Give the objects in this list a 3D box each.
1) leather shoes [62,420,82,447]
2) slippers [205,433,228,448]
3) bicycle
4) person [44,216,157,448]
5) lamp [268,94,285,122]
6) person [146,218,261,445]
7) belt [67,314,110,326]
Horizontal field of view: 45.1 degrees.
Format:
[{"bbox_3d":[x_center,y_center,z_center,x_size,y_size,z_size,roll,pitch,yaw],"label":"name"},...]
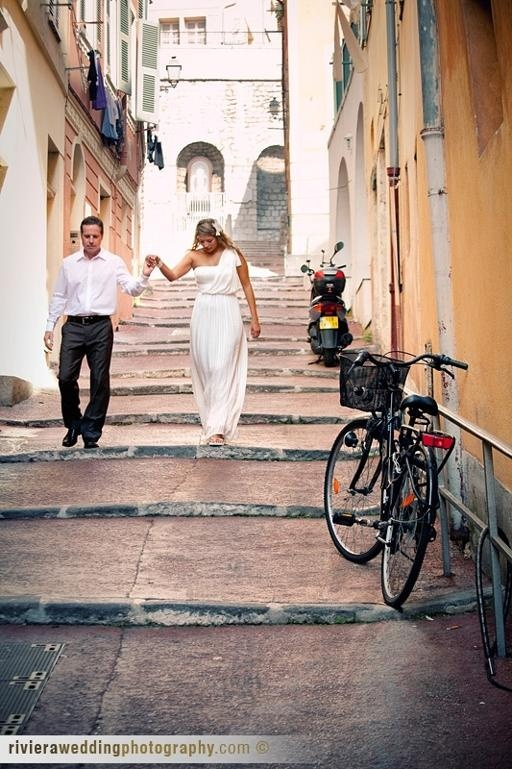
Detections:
[{"bbox_3d":[-1.752,0.470,5.838,0.102,0.148,0.317,4,13,1],"label":"leather shoes"},{"bbox_3d":[-0.369,0.508,5.730,0.185,0.114,0.236,2,0,-4],"label":"slippers"},{"bbox_3d":[0.375,0.405,2.987,0.496,1.014,1.439,3,8,-3],"label":"bicycle"},{"bbox_3d":[-1.576,-0.518,5.807,1.071,2.259,0.632,1,0,31],"label":"person"},{"bbox_3d":[1.203,-16.989,38.159,0.921,1.543,1.009,-1,-2,-5],"label":"lamp"},{"bbox_3d":[-0.374,-0.516,5.838,0.828,2.076,0.550,2,0,-9],"label":"person"},{"bbox_3d":[-1.588,-0.610,5.827,0.377,0.090,0.119,2,0,-8],"label":"belt"}]
